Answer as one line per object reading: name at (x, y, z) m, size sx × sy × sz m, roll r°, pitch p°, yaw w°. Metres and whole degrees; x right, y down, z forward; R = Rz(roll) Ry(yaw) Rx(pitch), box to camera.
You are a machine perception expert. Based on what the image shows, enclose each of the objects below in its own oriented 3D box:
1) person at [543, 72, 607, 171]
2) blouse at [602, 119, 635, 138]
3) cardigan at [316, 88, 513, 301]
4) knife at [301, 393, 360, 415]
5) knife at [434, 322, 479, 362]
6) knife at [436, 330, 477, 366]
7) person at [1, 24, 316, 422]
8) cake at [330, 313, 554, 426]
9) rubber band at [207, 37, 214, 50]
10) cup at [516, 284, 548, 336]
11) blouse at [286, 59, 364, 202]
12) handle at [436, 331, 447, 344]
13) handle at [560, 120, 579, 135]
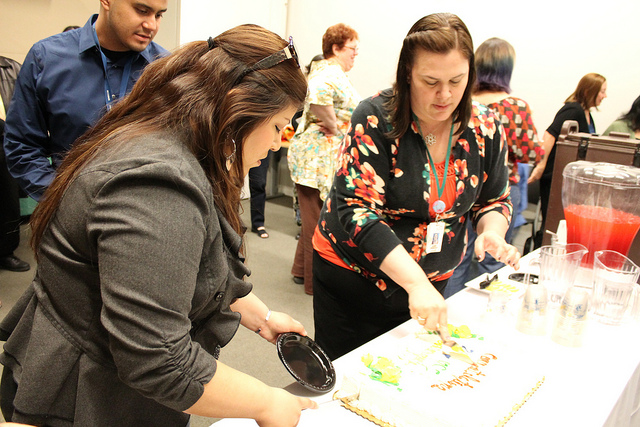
person at (2.241, -0.828, 3.914) m, size 0.379 × 0.846 × 0.779 m, roll 10°, pitch 14°, yaw 30°
blouse at (2.715, -0.782, 4.016) m, size 0.229 × 0.150 × 0.387 m, roll 9°, pitch 13°, yaw 31°
cardigan at (0.413, -0.090, 1.697) m, size 0.729 × 0.738 × 0.319 m, roll -3°, pitch 14°, yaw -26°
knife at (0.025, 0.543, 1.276) m, size 0.171 × 0.034 × 0.025 m, roll -1°, pitch 12°, yaw -18°
knife at (0.447, 0.434, 1.478) m, size 0.039 × 0.027 × 0.200 m, roll -24°, pitch 33°, yaw -8°
knife at (0.435, 0.429, 1.426) m, size 0.069 × 0.067 × 0.129 m, roll -1°, pitch 12°, yaw -16°
person at (-0.434, 0.079, 1.097) m, size 0.792 × 1.095 × 0.386 m, roll 2°, pitch 12°, yaw -3°
cake at (0.407, 0.501, 1.409) m, size 0.702 × 0.128 × 0.420 m, roll -8°, pitch 15°, yaw -42°
rubber band at (-0.269, -0.417, 1.084) m, size 0.009 × 0.023 × 0.017 m, roll 0°, pitch 3°, yaw -21°
cup at (0.781, 0.356, 1.668) m, size 0.110 × 0.175 × 0.110 m, roll 1°, pitch 17°, yaw 0°
blouse at (0.061, -0.688, 3.677) m, size 0.659 × 0.981 × 0.826 m, roll 2°, pitch 8°, yaw 9°
handle at (0.397, 0.407, 1.466) m, size 0.008 × 0.030 × 0.031 m, roll -31°, pitch 24°, yaw -4°
handle at (1.367, -0.471, 2.430) m, size 0.042 × 0.074 × 0.229 m, roll 12°, pitch 15°, yaw 39°
